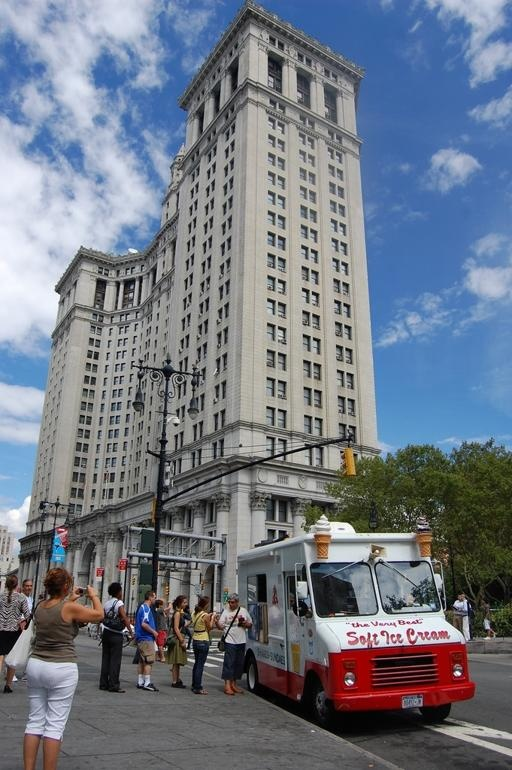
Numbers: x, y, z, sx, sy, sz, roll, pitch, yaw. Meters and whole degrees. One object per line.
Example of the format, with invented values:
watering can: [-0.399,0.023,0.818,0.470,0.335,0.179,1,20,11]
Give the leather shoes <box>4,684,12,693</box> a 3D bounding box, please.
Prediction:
leather shoes: [-4.220,5.202,9.995,0.087,0.102,0.254,3,-32,0]

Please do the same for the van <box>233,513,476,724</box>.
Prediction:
van: [1.229,4.049,10.418,2.360,2.851,5.055,6,-19,-19]

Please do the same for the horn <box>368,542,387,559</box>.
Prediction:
horn: [1.894,2.604,9.199,0.221,0.215,0.216,17,-42,-14]

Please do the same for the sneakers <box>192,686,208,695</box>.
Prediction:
sneakers: [-1.065,5.906,11.316,0.328,0.135,0.116,-11,-21,24]
